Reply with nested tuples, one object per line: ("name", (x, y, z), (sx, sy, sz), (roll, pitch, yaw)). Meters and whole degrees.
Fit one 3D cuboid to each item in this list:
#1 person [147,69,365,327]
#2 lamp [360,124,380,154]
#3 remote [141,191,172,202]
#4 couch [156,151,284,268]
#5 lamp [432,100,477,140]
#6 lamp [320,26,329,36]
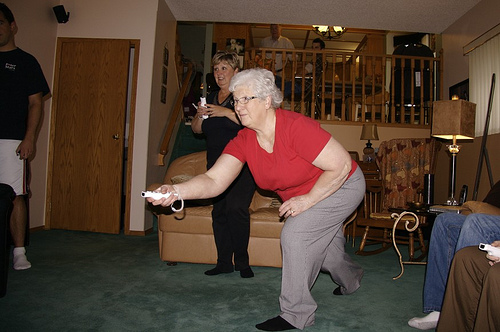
("person", (0.202, 0.241, 2.685), (1.360, 1.916, 0.355), (2, 2, -2))
("lamp", (2.039, -0.459, 6.000), (0.347, 0.497, 0.367), (2, 2, 8))
("remote", (-0.639, 0.199, 2.364), (0.092, 0.074, 0.229), (4, 3, 40))
("couch", (-0.242, 0.473, 4.137), (1.662, 1.147, 0.925), (4, 10, 6))
("lamp", (2.209, -0.528, 3.972), (0.499, 0.359, 0.486), (0, 5, -13))
("lamp", (1.681, -3.037, 8.060), (0.179, 0.055, 0.172), (-5, -3, -24))
